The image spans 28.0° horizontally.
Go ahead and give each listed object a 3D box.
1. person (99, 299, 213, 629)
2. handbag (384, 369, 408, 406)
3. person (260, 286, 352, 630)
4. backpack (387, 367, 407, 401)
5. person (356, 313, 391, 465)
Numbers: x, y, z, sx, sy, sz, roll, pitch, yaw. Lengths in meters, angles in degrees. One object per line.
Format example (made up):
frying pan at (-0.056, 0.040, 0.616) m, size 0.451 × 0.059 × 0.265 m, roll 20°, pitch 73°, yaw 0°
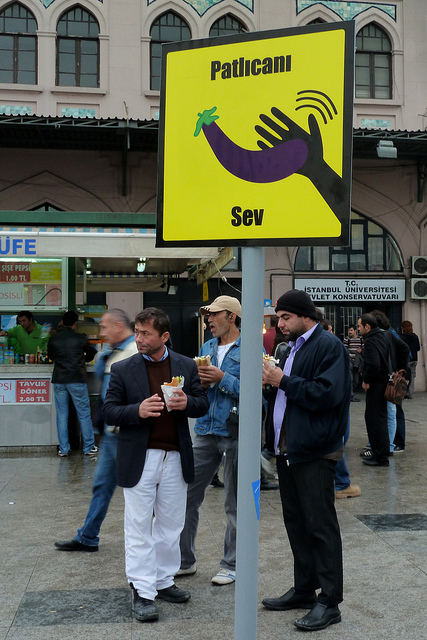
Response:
person at (-0.314, 0.791, 5.016) m, size 0.533 × 1.713 × 0.785 m, roll 0°, pitch 0°, yaw 25°
handbag at (1.963, 0.729, 9.275) m, size 0.198 × 0.416 × 0.333 m, roll 8°, pitch -11°, yaw 25°
person at (0.519, 0.743, 4.834) m, size 0.501 × 1.821 × 0.590 m, roll 0°, pitch 0°, yaw 4°
backpack at (1.976, 0.720, 9.242) m, size 0.187 × 0.226 × 0.309 m, roll 0°, pitch 1°, yaw 13°
person at (1.733, 0.753, 9.202) m, size 0.331 × 1.046 × 0.372 m, roll 0°, pitch 0°, yaw 12°
